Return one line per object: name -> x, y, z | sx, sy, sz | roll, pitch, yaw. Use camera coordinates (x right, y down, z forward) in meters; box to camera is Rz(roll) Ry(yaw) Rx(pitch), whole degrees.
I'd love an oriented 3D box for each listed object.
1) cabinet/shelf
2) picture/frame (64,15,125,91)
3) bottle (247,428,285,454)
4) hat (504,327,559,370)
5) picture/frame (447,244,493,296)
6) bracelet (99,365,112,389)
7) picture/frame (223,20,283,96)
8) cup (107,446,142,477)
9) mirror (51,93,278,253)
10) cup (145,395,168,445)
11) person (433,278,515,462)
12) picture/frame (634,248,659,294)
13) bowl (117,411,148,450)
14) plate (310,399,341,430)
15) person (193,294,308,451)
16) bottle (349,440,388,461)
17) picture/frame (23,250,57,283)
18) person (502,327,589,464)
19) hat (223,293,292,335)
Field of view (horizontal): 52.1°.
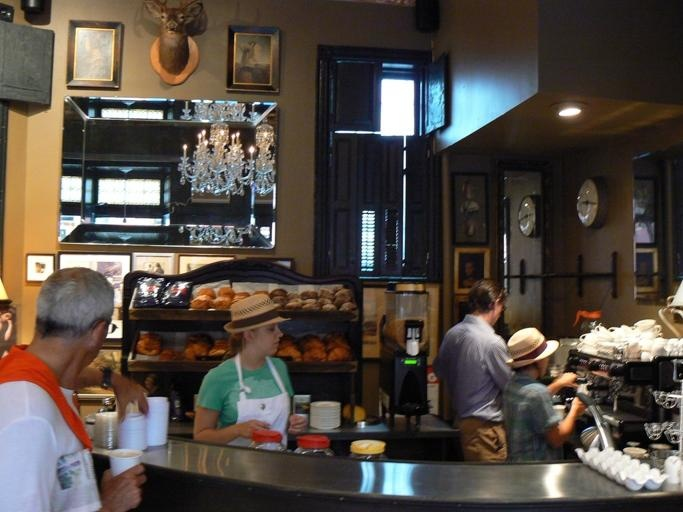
cabinet/shelf -> -0.759, 0.506, 5.522 | 1.785, 1.104, 0.547 | 0, -4, -10
picture/frame -> -2.410, -1.953, 6.724 | 0.737, 0.952, 0.073 | 0, 0, -8
bottle -> -0.394, 0.991, 3.766 | 0.175, 0.108, 0.274 | 0, -1, -5
hat -> 1.146, 0.549, 4.366 | 0.370, 0.147, 0.344 | -21, 17, 22
picture/frame -> 1.219, 0.140, 6.661 | 0.470, 0.625, 0.041 | 3, -6, -7
bracelet -> -1.229, 0.643, 3.705 | 0.073, 0.121, 0.121 | 1, -1, -11
picture/frame -> -0.900, -1.943, 6.870 | 0.742, 0.857, 0.058 | 1, -5, -8
cup -> -1.039, 0.979, 3.338 | 0.121, 0.092, 0.114 | 0, -2, 0
mirror -> -1.650, -0.819, 6.864 | 2.114, 1.487, 0.015 | -3, 10, -37
cup -> -0.967, 0.863, 3.662 | 0.141, 0.256, 0.074 | 2, -3, -38
person -> 0.954, 0.807, 5.016 | 0.568, 1.273, 0.350 | 0, -2, 22
picture/frame -> 2.381, 0.103, 5.451 | 0.328, 0.367, 0.023 | 5, -5, -37
bowl -> -1.071, 0.905, 3.615 | 0.153, 0.163, 0.146 | 3, -16, 1
plate -> -0.120, 1.154, 5.130 | 0.198, 0.144, 0.195 | 1, 0, -17
person -> -0.516, 0.666, 4.206 | 0.493, 0.875, 0.607 | -1, -2, 40
bottle -> 0.146, 1.066, 3.832 | 0.174, 0.083, 0.146 | 1, -1, -9
picture/frame -> -2.712, 0.096, 6.230 | 0.295, 0.312, 0.043 | 2, -5, -6
person -> 1.226, 0.848, 4.255 | 0.458, 0.799, 0.287 | 0, -2, 12
hat -> -0.546, 0.333, 4.297 | 0.441, 0.168, 0.408 | -16, 5, 15
